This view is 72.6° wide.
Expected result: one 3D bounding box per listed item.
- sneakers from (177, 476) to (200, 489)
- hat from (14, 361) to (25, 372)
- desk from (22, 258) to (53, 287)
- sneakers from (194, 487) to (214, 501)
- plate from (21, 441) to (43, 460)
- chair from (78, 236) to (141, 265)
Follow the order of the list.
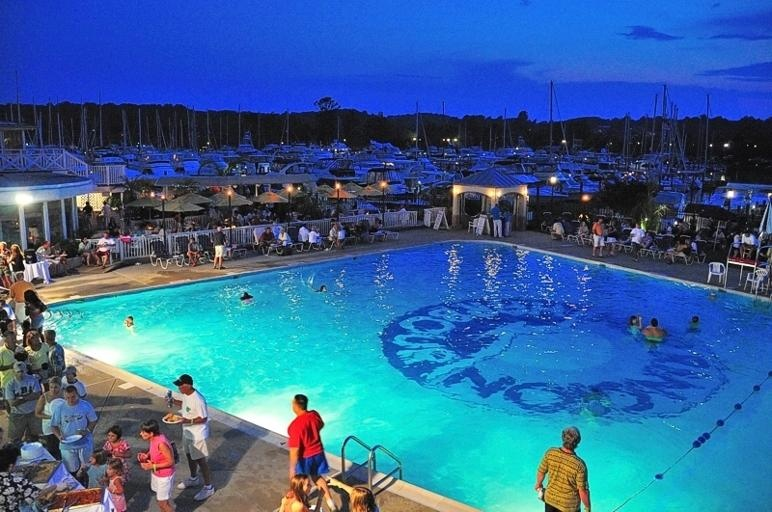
[{"bbox_3d":[-3.750,4.310,10.051,0.437,0.165,0.173,0,7,-12],"label":"sneakers"},{"bbox_3d":[-7.267,2.176,10.398,0.196,0.190,0.340,-10,11,-36],"label":"hat"},{"bbox_3d":[-13.610,0.611,20.672,1.121,1.169,1.085,0,2,-40],"label":"desk"},{"bbox_3d":[-3.397,4.395,9.801,0.170,0.144,0.350,12,17,39],"label":"sneakers"},{"bbox_3d":[-6.004,3.262,8.854,0.298,0.176,0.292,2,4,8],"label":"plate"},{"bbox_3d":[-13.060,-0.258,24.071,1.935,0.690,1.430,4,12,19],"label":"chair"}]
